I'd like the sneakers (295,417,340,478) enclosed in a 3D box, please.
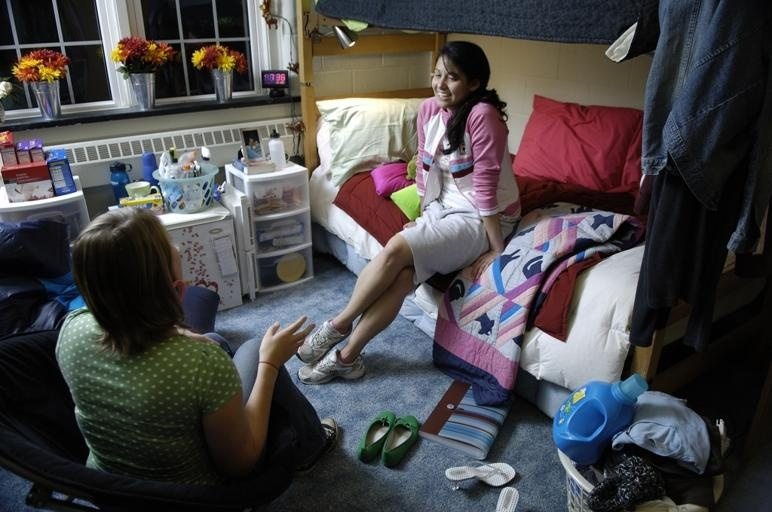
[{"bbox_3d":[-0.245,0.753,2.162,0.099,0.119,0.302,24,50,18],"label":"sneakers"}]

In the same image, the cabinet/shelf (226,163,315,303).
[{"bbox_3d":[-0.697,-0.134,3.048,0.446,0.835,0.617,-13,28,-23],"label":"cabinet/shelf"}]

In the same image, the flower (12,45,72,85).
[{"bbox_3d":[-1.858,-0.997,2.816,0.219,0.136,0.229,15,25,31],"label":"flower"}]

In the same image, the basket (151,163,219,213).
[{"bbox_3d":[-1.096,-0.346,2.882,0.269,0.178,0.278,3,28,2],"label":"basket"}]

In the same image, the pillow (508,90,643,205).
[{"bbox_3d":[1.082,-0.591,2.991,0.651,0.687,0.200,13,-7,33],"label":"pillow"}]

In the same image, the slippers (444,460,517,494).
[{"bbox_3d":[0.374,0.852,2.065,0.258,0.071,0.113,-8,36,-8],"label":"slippers"}]

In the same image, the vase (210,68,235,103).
[{"bbox_3d":[-1.029,-1.068,3.312,0.178,0.200,0.187,0,24,-1],"label":"vase"}]

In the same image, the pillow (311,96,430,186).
[{"bbox_3d":[-0.119,-0.734,3.294,0.572,0.600,0.158,-8,-12,3],"label":"pillow"}]

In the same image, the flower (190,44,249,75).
[{"bbox_3d":[-1.039,-1.220,3.271,0.317,0.150,0.169,-13,29,-20],"label":"flower"}]

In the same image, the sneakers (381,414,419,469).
[{"bbox_3d":[0.063,0.765,2.194,0.089,0.082,0.205,13,45,16],"label":"sneakers"}]

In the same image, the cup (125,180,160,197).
[{"bbox_3d":[-1.349,-0.362,2.893,0.140,0.064,0.097,3,28,-3],"label":"cup"}]

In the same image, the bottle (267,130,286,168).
[{"bbox_3d":[-0.650,-0.626,3.110,0.095,0.175,0.235,-7,27,-10],"label":"bottle"}]

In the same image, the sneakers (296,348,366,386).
[{"bbox_3d":[-0.262,0.538,2.523,0.362,0.177,0.135,-5,42,-9],"label":"sneakers"}]
